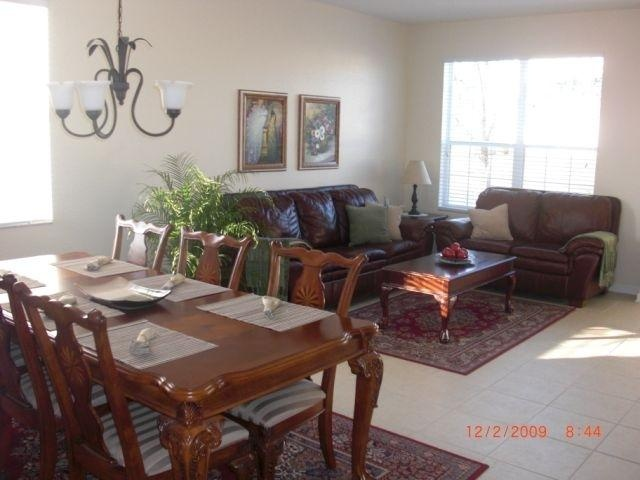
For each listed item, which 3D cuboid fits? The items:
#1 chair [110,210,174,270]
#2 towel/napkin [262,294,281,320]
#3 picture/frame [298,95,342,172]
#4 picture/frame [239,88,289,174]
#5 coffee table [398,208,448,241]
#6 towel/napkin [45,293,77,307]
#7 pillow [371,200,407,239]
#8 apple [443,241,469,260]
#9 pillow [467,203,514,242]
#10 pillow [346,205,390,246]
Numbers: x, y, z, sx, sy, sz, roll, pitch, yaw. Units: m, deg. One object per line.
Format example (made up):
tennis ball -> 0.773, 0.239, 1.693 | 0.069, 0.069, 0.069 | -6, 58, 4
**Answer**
chair -> -1.460, -0.004, 3.864 | 0.377, 0.664, 0.394 | 13, 10, 17
towel/napkin -> -0.252, 0.349, 2.386 | 0.081, 0.077, 0.093 | 1, 2, 43
picture/frame -> -0.019, -1.430, 6.289 | 0.131, 0.949, 0.765 | 10, 15, 39
picture/frame -> -0.687, -1.300, 5.680 | 0.109, 0.950, 0.791 | 11, 15, 42
coffee table -> 1.375, -0.209, 6.385 | 0.490, 0.216, 0.550 | 9, 15, 39
towel/napkin -> -1.181, 0.275, 2.127 | 0.095, 0.040, 0.097 | 1, 3, 3
pillow -> 0.894, -0.246, 6.139 | 0.519, 0.530, 0.195 | 10, -3, 16
apple -> 1.430, 0.129, 4.955 | 0.238, 0.134, 0.188 | 11, 21, 38
pillow -> 2.320, -0.213, 6.327 | 0.491, 0.480, 0.183 | 0, -22, 0
pillow -> 0.587, -0.167, 5.925 | 0.484, 0.462, 0.177 | 0, -17, -14
